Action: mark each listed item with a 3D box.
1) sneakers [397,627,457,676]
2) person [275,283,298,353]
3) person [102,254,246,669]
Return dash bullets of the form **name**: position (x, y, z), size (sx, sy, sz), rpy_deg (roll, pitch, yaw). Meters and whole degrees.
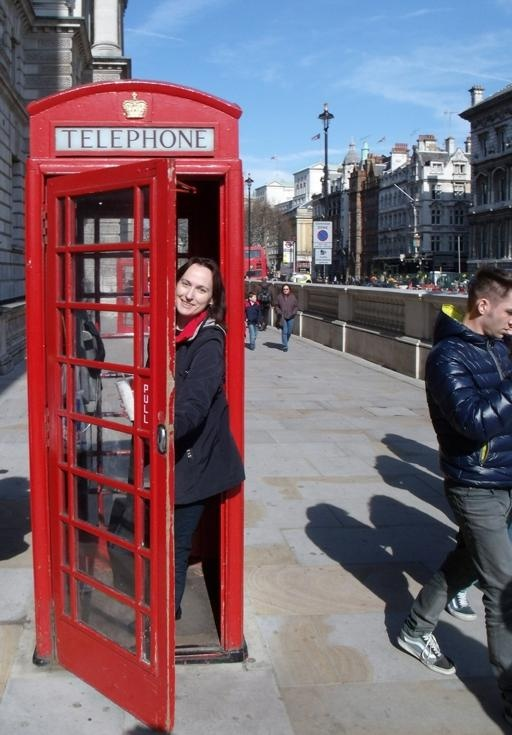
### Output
- **sneakers**: position (0.768, 1.249, 3.304), size (0.105, 0.141, 0.301), rpy_deg (-9, 20, -43)
- **person**: position (0.753, -1.239, 17.898), size (0.450, 1.588, 0.956), rpy_deg (2, 5, 1)
- **person**: position (-0.297, 0.374, 2.908), size (0.438, 1.627, 0.817), rpy_deg (3, 5, 13)
